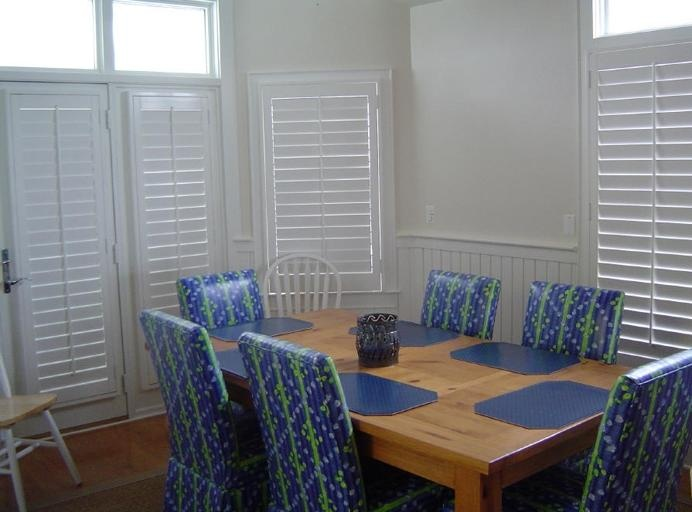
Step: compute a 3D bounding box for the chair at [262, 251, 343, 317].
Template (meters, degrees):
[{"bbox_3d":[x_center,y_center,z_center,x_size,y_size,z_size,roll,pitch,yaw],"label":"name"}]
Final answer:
[{"bbox_3d":[-0.353,0.168,3.941,0.443,0.791,0.529,-2,6,-13],"label":"chair"}]
